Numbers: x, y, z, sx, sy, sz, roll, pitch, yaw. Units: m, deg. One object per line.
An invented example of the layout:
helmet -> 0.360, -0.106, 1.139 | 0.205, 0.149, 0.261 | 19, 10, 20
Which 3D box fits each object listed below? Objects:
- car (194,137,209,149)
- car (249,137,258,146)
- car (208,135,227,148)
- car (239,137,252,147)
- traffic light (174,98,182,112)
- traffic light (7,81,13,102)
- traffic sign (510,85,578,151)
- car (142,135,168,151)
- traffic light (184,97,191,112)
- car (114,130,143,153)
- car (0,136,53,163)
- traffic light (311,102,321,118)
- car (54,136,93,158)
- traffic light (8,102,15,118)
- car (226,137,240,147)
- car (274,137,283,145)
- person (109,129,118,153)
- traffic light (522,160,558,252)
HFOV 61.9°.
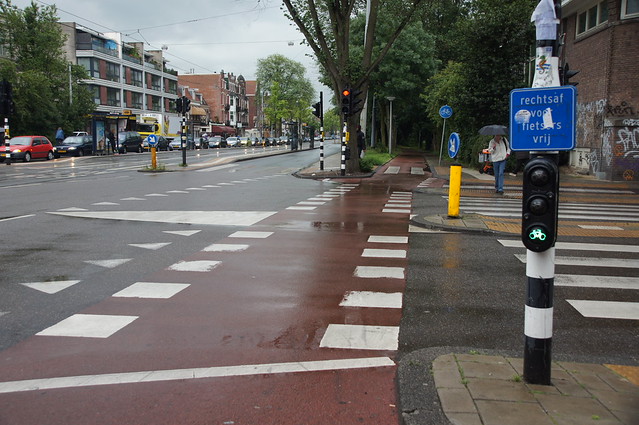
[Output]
car -> -14.407, -8.325, 65.033 | 0.772, 1.395, 4.117 | 0, 12, 3
car -> -9.993, -10.784, 81.150 | 1.718, 1.127, 3.015 | -2, 6, -2
car -> -13.082, -8.935, 68.469 | 1.232, 1.396, 2.943 | 2, 13, 12
car -> -10.760, -10.246, 77.895 | 1.174, 1.257, 3.837 | 0, 12, 4
traffic light -> -8.053, -6.236, 30.943 | 0.527, 0.720, 0.233 | 3, 10, 24
traffic light -> -18.519, -7.165, 31.864 | 0.191, 1.130, 0.585 | -4, 12, -19
traffic sign -> 2.177, -0.903, 5.168 | 0.633, 0.651, 0.066 | 0, -2, 27
car -> -16.916, -6.990, 55.238 | 2.003, 1.658, 7.364 | -3, 13, -10
traffic light -> -7.650, -6.172, 30.653 | 0.238, 0.818, 1.548 | -3, 12, -11
car -> -17.236, -6.251, 48.373 | 0.768, 2.019, 3.873 | 0, 12, 3
car -> -19.785, -4.213, 36.064 | 1.712, 1.260, 2.703 | 1, 4, 10
traffic light -> -0.103, -5.618, 29.198 | 0.427, 0.762, 1.104 | 0, 12, 3
car -> -19.423, -5.138, 41.977 | 1.491, 1.518, 3.637 | 1, 12, 7
traffic light -> -18.581, -6.245, 32.219 | 0.171, 0.681, 0.769 | -4, 12, -18
car -> -11.481, -9.214, 70.815 | 1.233, 1.249, 2.829 | 0, 12, 3
car -> -7.481, -12.935, 97.120 | 1.157, 0.960, 2.560 | -2, 3, -3
person -> -17.789, -6.007, 46.126 | 0.445, 1.846, 1.308 | -3, 12, -11
traffic light -> 2.109, -0.074, 5.106 | 0.305, 0.846, 0.233 | 4, 12, 21
